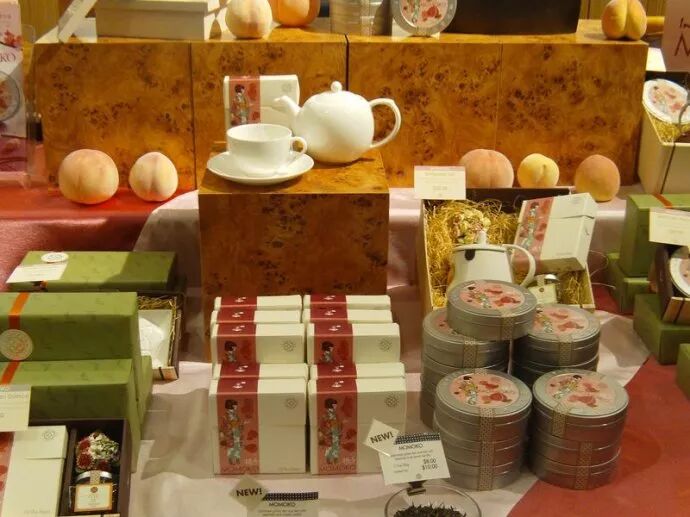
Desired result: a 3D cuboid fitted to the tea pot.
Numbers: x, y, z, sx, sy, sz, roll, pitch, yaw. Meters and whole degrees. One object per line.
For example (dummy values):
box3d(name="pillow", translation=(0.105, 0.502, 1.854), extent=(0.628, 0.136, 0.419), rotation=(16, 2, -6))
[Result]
box3d(name="tea pot", translation=(-0.039, -0.432, 1.847), extent=(0.378, 0.262, 0.250), rotation=(5, 34, 4))

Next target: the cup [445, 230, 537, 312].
box3d(name="cup", translation=(0.437, 0.026, 1.817), extent=(0.299, 0.267, 0.199), rotation=(-4, 12, -26))

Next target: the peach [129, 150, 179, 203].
box3d(name="peach", translation=(-0.719, -0.299, 2.100), extent=(0.199, 0.239, 0.175), rotation=(-2, 3, -9))

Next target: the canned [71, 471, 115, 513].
box3d(name="canned", translation=(-0.585, 0.538, 1.257), extent=(0.098, 0.053, 0.078), rotation=(-4, 24, -7))

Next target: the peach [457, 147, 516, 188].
box3d(name="peach", translation=(0.541, -0.337, 2.125), extent=(0.167, 0.137, 0.163), rotation=(10, 3, -5))

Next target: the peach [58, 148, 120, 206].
box3d(name="peach", translation=(-0.993, -0.311, 2.104), extent=(0.207, 0.204, 0.202), rotation=(-5, 22, -31))

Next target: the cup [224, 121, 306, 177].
box3d(name="cup", translation=(-0.247, -0.334, 1.621), extent=(0.198, 0.101, 0.160), rotation=(3, 29, -2))
